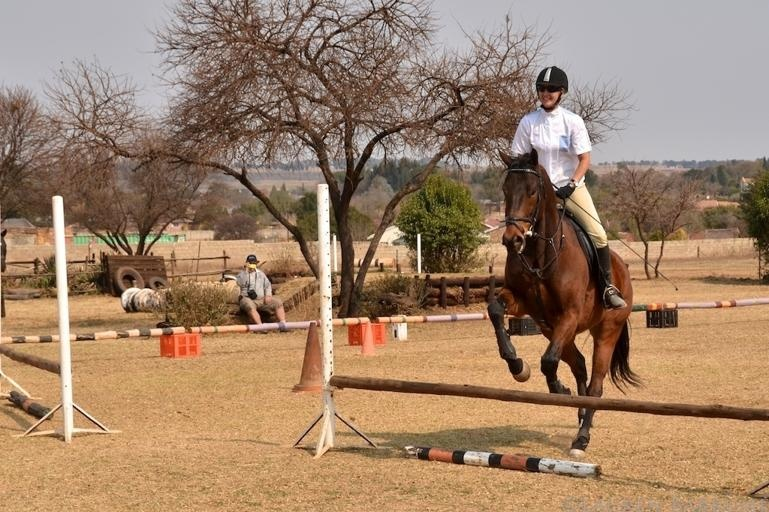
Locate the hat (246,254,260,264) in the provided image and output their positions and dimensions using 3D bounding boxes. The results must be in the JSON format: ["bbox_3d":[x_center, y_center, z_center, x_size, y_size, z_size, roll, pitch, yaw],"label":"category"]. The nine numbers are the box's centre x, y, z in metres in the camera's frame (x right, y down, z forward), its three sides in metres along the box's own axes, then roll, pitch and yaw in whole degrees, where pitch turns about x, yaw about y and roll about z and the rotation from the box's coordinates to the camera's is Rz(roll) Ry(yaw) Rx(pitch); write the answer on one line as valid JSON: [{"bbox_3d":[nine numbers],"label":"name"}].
[{"bbox_3d":[-3.400,0.032,24.120,0.267,0.240,0.453,0,-8,-7],"label":"hat"}]

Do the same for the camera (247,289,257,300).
[{"bbox_3d":[-3.391,0.965,24.228,0.217,0.232,0.065,-22,2,5],"label":"camera"}]
